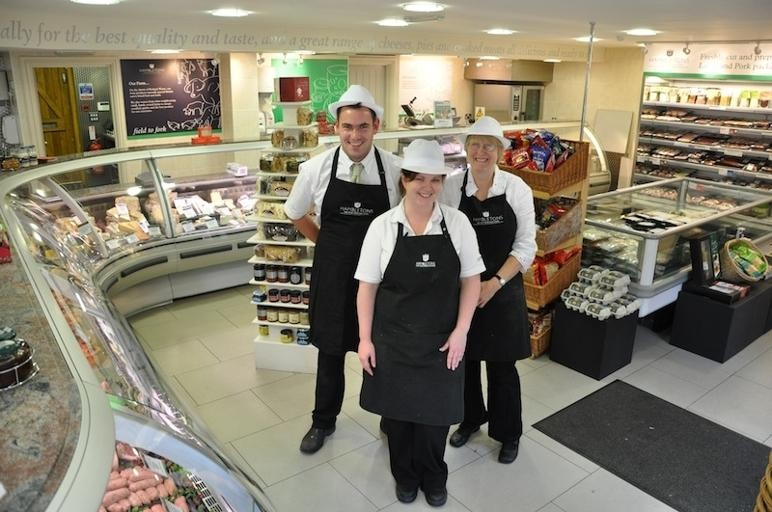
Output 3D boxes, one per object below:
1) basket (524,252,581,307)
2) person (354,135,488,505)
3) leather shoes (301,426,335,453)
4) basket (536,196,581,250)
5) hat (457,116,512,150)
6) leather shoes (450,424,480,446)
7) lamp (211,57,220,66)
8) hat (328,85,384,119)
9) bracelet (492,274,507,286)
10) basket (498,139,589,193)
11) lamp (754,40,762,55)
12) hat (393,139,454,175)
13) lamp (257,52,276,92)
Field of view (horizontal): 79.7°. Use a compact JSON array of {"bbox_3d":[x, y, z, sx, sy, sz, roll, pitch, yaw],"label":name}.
[{"bbox_3d":[1.643,0.137,4.726,0.694,0.238,0.422,-27,39,-33],"label":"basket"},{"bbox_3d":[0.190,0.509,2.947,0.740,2.382,0.636,6,24,19],"label":"person"},{"bbox_3d":[-0.532,1.431,3.659,0.112,0.120,0.305,9,16,30],"label":"leather shoes"},{"bbox_3d":[1.660,-0.302,4.500,0.286,0.413,0.676,16,28,37],"label":"basket"},{"bbox_3d":[0.671,-0.871,3.225,0.349,0.148,0.423,9,2,17],"label":"hat"},{"bbox_3d":[0.648,1.435,3.720,0.299,0.117,0.106,-15,23,-37],"label":"leather shoes"},{"bbox_3d":[-2.884,-3.246,7.735,0.087,0.132,0.055,-1,9,-10],"label":"lamp"},{"bbox_3d":[-0.200,-1.074,3.131,0.321,0.129,0.355,10,12,-1],"label":"hat"},{"bbox_3d":[0.771,0.172,3.160,0.042,0.064,0.057,-41,45,-9],"label":"bracelet"},{"bbox_3d":[1.613,-0.755,4.420,0.632,0.269,0.619,-21,29,-32],"label":"basket"},{"bbox_3d":[5.844,-3.254,7.236,0.118,0.164,0.046,3,1,-22],"label":"lamp"},{"bbox_3d":[0.227,-0.603,2.788,0.363,0.169,0.477,4,11,-7],"label":"hat"},{"bbox_3d":[-2.042,-3.046,7.738,0.324,0.614,0.202,-7,23,-9],"label":"lamp"}]
